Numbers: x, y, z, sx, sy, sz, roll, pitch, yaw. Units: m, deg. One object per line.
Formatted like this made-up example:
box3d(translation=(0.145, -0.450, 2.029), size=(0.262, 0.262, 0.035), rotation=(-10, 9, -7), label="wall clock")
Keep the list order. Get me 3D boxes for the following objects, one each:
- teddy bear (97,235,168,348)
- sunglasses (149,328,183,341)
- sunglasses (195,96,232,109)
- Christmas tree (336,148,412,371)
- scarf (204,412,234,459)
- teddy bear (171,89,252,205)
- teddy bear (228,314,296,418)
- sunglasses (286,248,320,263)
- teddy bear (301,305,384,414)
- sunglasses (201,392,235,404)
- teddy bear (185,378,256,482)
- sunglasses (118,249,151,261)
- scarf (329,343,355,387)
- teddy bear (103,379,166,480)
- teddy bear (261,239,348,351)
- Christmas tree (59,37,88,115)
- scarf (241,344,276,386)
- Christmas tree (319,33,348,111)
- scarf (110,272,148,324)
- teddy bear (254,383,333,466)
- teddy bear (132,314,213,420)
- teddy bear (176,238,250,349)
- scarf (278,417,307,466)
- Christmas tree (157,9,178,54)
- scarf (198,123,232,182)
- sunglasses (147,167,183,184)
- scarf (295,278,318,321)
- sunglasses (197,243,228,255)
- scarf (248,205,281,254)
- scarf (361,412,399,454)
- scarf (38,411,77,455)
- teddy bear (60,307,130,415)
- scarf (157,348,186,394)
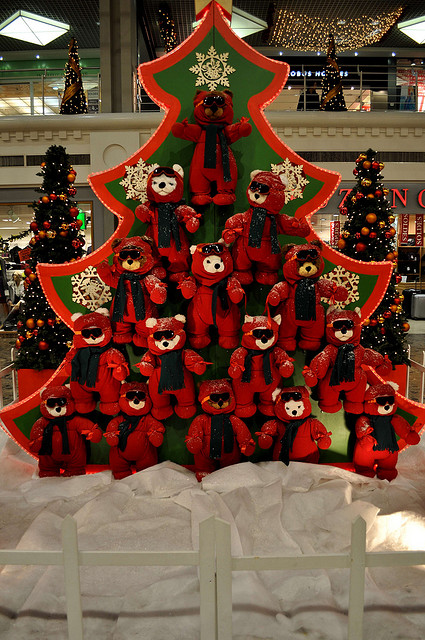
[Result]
box3d(translation=(-0.472, -0.159, 3.197), size=(0.452, 0.629, 0.234), rotation=(4, 10, 11), label="teddy bear")
box3d(translation=(-0.257, 0.084, 3.041), size=(0.179, 0.064, 0.069), rotation=(-2, 9, -10), label="sunglasses")
box3d(translation=(0.008, -1.267, 3.141), size=(0.203, 0.072, 0.111), rotation=(0, 9, -1), label="sunglasses")
box3d(translation=(1.557, -0.573, 4.950), size=(0.608, 2.010, 0.651), rotation=(-1, 10, -22), label="Christmas tree")
box3d(translation=(0.049, 0.679, 3.156), size=(0.148, 0.251, 0.094), rotation=(-1, 9, -3), label="scarf")
box3d(translation=(0.008, -1.027, 3.233), size=(0.509, 0.692, 0.290), rotation=(1, 5, 7), label="teddy bear")
box3d(translation=(0.279, 0.283, 3.167), size=(0.395, 0.600, 0.297), rotation=(0, 10, -3), label="teddy bear")
box3d(translation=(0.522, -0.367, 3.063), size=(0.178, 0.079, 0.071), rotation=(0, 9, 2), label="sunglasses")
box3d(translation=(0.817, 0.262, 3.279), size=(0.597, 0.652, 0.278), rotation=(-2, 8, -14), label="teddy bear")
box3d(translation=(0.032, 0.449, 3.104), size=(0.177, 0.067, 0.062), rotation=(-1, 9, -8), label="sunglasses")
box3d(translation=(0.015, 0.631, 3.323), size=(0.431, 0.602, 0.338), rotation=(1, 8, -15), label="teddy bear")
box3d(translation=(-0.444, -0.370, 3.083), size=(0.183, 0.065, 0.063), rotation=(-1, 9, -9), label="sunglasses")
box3d(translation=(0.769, 0.267, 3.170), size=(0.172, 0.276, 0.055), rotation=(-2, 23, -1), label="scarf")
box3d(translation=(-0.468, 0.672, 3.220), size=(0.365, 0.618, 0.263), rotation=(-1, 14, -19), label="teddy bear")
box3d(translation=(0.537, -0.162, 3.229), size=(0.439, 0.661, 0.342), rotation=(1, 10, -10), label="teddy bear")
box3d(translation=(-2.090, -3.478, 8.105), size=(0.366, 1.342, 0.338), rotation=(3, 12, -15), label="Christmas tree")
box3d(translation=(0.258, 0.256, 3.089), size=(0.266, 0.266, 0.110), rotation=(0, 0, -2), label="scarf")
box3d(translation=(1.831, -3.843, 8.396), size=(0.499, 1.071, 0.456), rotation=(-9, 34, -4), label="Christmas tree")
box3d(translation=(-0.483, -0.128, 3.153), size=(0.206, 0.290, 0.092), rotation=(-1, 9, -6), label="scarf")
box3d(translation=(0.514, 0.687, 3.285), size=(0.434, 0.539, 0.222), rotation=(0, 7, 7), label="teddy bear")
box3d(translation=(-0.245, 0.249, 3.255), size=(0.474, 0.592, 0.330), rotation=(0, 10, -17), label="teddy bear")
box3d(translation=(-0.009, -0.164, 3.192), size=(0.419, 0.633, 0.246), rotation=(0, 11, -21), label="teddy bear")
box3d(translation=(0.483, 0.725, 3.217), size=(0.149, 0.268, 0.075), rotation=(1, 10, 6), label="scarf")
box3d(translation=(-0.854, -5.414, 10.008), size=(0.383, 0.329, 1.039), rotation=(-11, -2, 1), label="Christmas tree")
box3d(translation=(0.033, -0.984, 3.172), size=(0.154, 0.329, 0.110), rotation=(0, 9, 0), label="scarf")
box3d(translation=(-0.274, -0.846, 3.150), size=(0.196, 0.081, 0.121), rotation=(-1, 9, -5), label="sunglasses")
box3d(translation=(0.539, -0.118, 3.113), size=(0.120, 0.243, 0.076), rotation=(0, 9, 1), label="scarf")
box3d(translation=(-0.001, -0.397, 3.018), size=(0.163, 0.061, 0.085), rotation=(0, 9, -3), label="sunglasses")
box3d(translation=(0.298, -0.520, 3.107), size=(0.192, 0.279, 0.138), rotation=(-1, 9, -7), label="scarf")
box3d(translation=(1.019, 0.680, 3.267), size=(0.216, 0.229, 0.114), rotation=(2, 10, 14), label="scarf")
box3d(translation=(-0.954, 0.698, 3.296), size=(0.315, 0.356, 0.052), rotation=(0, -11, -6), label="scarf")
box3d(translation=(-0.692, 0.246, 3.206), size=(0.373, 0.663, 0.307), rotation=(-1, 12, -20), label="teddy bear")
box3d(translation=(-0.240, 0.294, 3.083), size=(0.144, 0.247, 0.094), rotation=(-2, 10, -8), label="scarf")
